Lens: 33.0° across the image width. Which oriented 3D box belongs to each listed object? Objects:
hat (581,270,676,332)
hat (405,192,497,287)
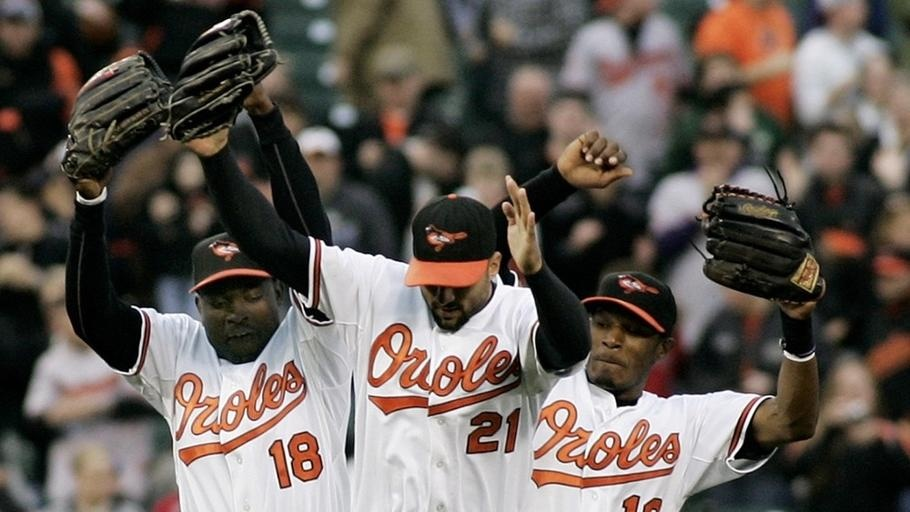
[{"bbox_3d":[1.615,0.439,14.139,0.782,0.491,0.447,11,41,11],"label":"hat"},{"bbox_3d":[-0.030,-0.115,13.234,0.757,0.523,0.710,5,40,3],"label":"hat"}]
